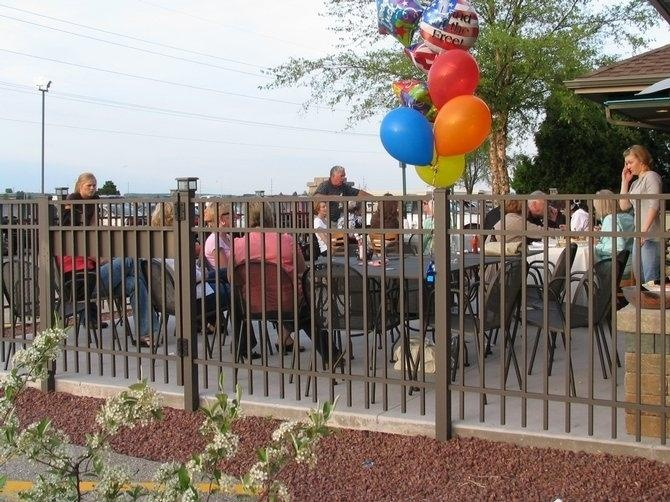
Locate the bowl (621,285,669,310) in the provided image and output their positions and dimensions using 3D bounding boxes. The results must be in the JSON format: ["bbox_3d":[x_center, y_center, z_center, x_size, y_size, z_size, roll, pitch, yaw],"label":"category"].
[{"bbox_3d":[2.129,0.285,5.029,0.170,0.085,0.268,0,-1,-3],"label":"bowl"}]
